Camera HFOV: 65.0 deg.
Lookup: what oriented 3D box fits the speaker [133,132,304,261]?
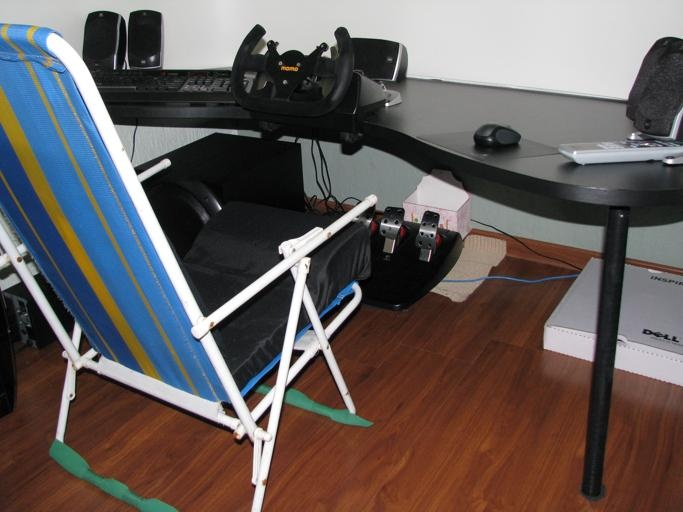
[{"bbox_3d":[-0.551,-0.265,2.516,0.477,0.499,0.717,0,36,31],"label":"speaker"}]

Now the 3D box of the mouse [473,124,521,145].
[{"bbox_3d":[0.416,-0.339,1.454,0.102,0.040,0.060,-9,29,-23],"label":"mouse"}]
